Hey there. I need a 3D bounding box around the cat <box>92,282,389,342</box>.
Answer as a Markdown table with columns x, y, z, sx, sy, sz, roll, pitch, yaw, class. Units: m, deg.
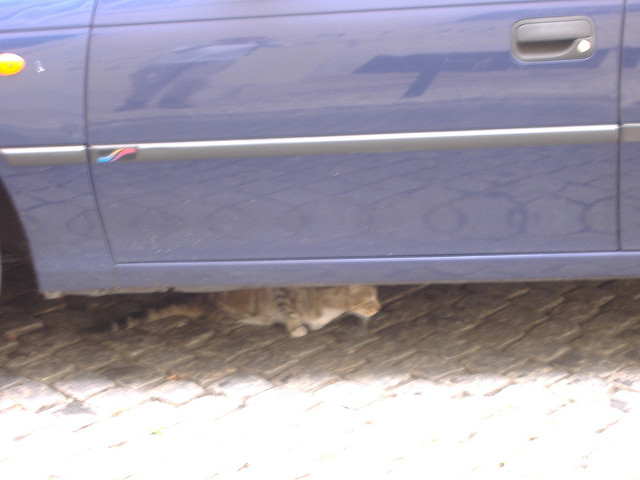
| x | y | z | sx | sy | sz | roll | pitch | yaw | class |
| --- | --- | --- | --- | --- | --- | --- | --- | --- | --- |
| -0.415 | 0.422 | 3.631 | 2.591 | 0.232 | 0.442 | -1 | 15 | 4 | cat |
